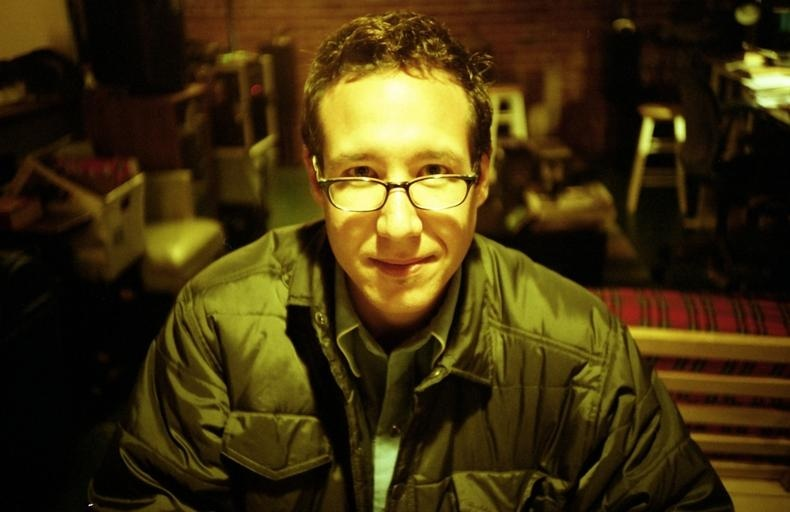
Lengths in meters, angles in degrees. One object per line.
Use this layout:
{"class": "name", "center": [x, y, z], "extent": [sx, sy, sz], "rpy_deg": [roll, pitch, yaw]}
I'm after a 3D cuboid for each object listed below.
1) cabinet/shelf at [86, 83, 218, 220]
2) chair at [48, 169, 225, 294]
{"class": "cabinet/shelf", "center": [-1.058, -0.519, 3.126], "extent": [0.470, 0.685, 0.342], "rpy_deg": [-1, 11, 8]}
{"class": "chair", "center": [-1.176, -0.159, 3.301], "extent": [0.527, 0.750, 0.602], "rpy_deg": [-3, 17, -29]}
